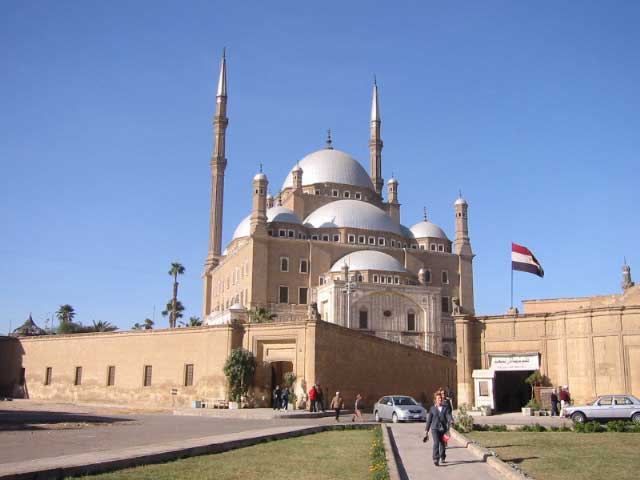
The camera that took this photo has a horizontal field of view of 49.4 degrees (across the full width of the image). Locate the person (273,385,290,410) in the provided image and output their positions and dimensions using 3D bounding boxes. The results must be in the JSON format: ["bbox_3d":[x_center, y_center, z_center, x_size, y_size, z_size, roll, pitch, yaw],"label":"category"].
[{"bbox_3d":[-2.012,8.263,36.240,0.463,0.621,1.518,3,23,-5],"label":"person"}]

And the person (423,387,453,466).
[{"bbox_3d":[3.076,4.992,18.264,0.610,1.721,1.403,-1,-3,11],"label":"person"}]

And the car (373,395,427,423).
[{"bbox_3d":[3.350,7.282,29.480,1.963,1.104,2.130,-1,-3,2],"label":"car"}]

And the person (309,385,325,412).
[{"bbox_3d":[-0.176,7.777,34.076,0.679,1.339,1.582,-1,-3,-2],"label":"person"}]

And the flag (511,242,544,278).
[{"bbox_3d":[10.076,1.122,34.325,1.505,1.515,0.168,9,-20,-5],"label":"flag"}]
